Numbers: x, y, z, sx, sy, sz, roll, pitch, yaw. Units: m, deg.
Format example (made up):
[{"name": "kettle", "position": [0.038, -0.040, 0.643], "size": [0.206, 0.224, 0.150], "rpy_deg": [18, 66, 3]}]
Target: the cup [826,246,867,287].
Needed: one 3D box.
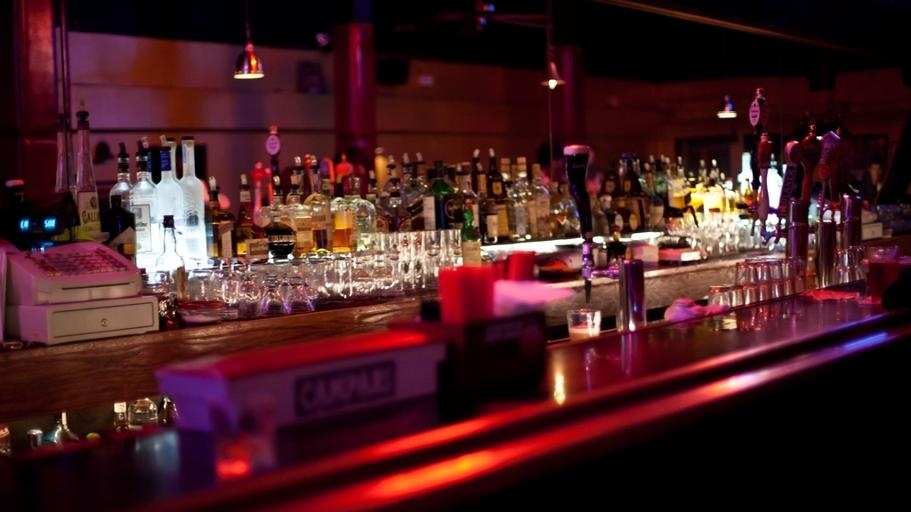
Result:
[{"name": "cup", "position": [1.855, 0.050, 3.416], "size": [0.232, 0.206, 0.125], "rpy_deg": [0, -1, -11]}]

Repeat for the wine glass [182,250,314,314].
[{"name": "wine glass", "position": [-0.935, 0.144, 3.207], "size": [0.605, 0.230, 0.349], "rpy_deg": [-6, 11, -19]}]

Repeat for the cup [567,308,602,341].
[{"name": "cup", "position": [0.544, 0.283, 2.908], "size": [0.132, 0.116, 0.132], "rpy_deg": [-2, 11, 0]}]
